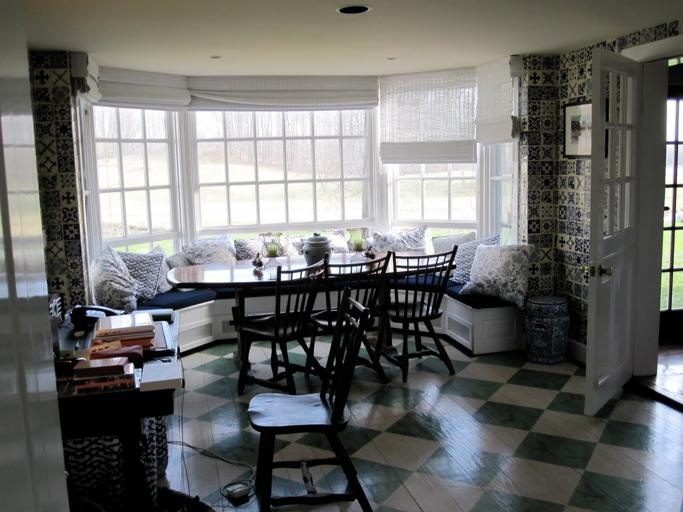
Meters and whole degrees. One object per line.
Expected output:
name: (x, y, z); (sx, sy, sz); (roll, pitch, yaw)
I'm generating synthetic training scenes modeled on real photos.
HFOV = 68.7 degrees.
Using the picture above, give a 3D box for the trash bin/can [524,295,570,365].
trash bin/can: (1.866, 0.669, 4.552); (0.371, 0.559, 0.286); (1, 12, 16)

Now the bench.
bench: (-0.791, 0.506, 4.843); (1.969, 0.303, 1.301); (-12, -3, 19)

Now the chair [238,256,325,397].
chair: (-0.478, 0.591, 4.028); (0.719, 0.943, 0.629); (-6, 2, 29)

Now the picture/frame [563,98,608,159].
picture/frame: (2.196, -1.144, 4.532); (0.565, 0.488, 0.012); (-9, 10, -26)

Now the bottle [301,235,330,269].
bottle: (-0.213, -0.058, 4.470); (0.283, 0.291, 0.262); (-2, 9, -3)

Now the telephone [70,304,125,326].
telephone: (-1.574, 0.381, 3.211); (0.399, 0.131, 0.109); (1, 42, -35)
